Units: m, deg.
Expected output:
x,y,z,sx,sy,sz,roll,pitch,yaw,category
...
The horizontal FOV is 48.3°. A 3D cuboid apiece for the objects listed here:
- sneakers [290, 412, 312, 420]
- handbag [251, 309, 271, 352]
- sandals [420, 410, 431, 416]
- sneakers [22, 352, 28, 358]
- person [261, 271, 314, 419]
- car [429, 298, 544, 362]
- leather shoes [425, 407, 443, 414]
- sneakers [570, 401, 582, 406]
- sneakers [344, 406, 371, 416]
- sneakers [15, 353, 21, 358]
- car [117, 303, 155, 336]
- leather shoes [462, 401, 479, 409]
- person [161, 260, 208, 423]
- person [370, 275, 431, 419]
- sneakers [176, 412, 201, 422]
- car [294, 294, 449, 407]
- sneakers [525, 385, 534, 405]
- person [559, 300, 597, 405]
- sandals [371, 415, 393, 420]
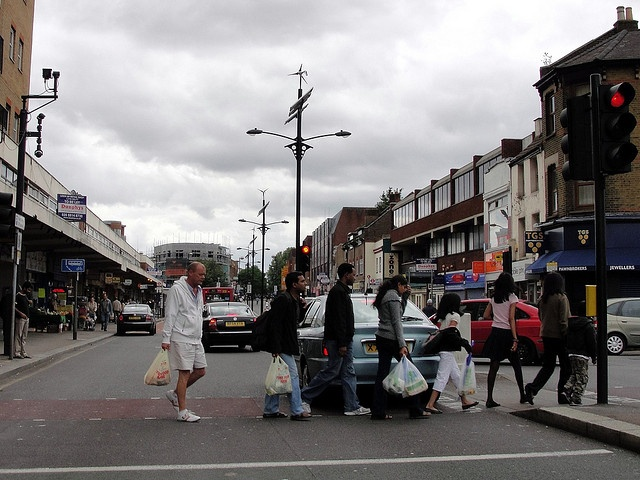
x,y,z,sx,sy,sz,roll,pitch,yaw,category
-0.305,2.653,10.799,0.277,0.137,0.111,-2,-6,-1,sneakers
-0.915,1.465,10.985,0.323,0.637,0.451,14,-13,-20,handbag
1.633,2.685,11.050,0.064,0.070,0.187,0,-10,0,sandals
-7.876,3.067,18.895,0.170,0.124,0.548,3,-8,-19,sneakers
-0.496,1.607,10.869,0.673,2.240,0.323,7,-10,-42,person
4.121,2.460,19.023,3.479,1.568,1.653,1,-2,22,car
1.813,2.687,11.158,0.331,0.095,0.124,0,-1,-13,leather shoes
3.994,2.539,11.075,0.202,0.093,0.077,0,-4,-10,sneakers
0.564,2.670,11.135,0.424,0.215,0.156,-2,-8,2,sneakers
-8.192,3.108,19.096,0.123,0.169,0.381,5,-13,-21,sneakers
-9.181,3.950,35.162,1.767,1.574,1.739,3,-8,-16,car
2.430,2.681,11.563,0.290,0.110,0.101,-15,7,-11,leather shoes
-2.042,1.503,10.587,0.645,2.359,0.566,2,-7,-13,person
1.190,1.659,11.082,0.789,2.190,0.857,-1,-7,9,person
-1.963,2.607,10.523,0.334,0.166,0.137,2,-3,3,sneakers
0.477,1.778,12.477,1.403,1.226,2.621,0,0,-13,car
3.453,2.515,11.701,0.134,0.365,0.119,-4,3,17,sneakers
4.087,1.894,11.200,0.517,1.352,0.277,-2,-8,20,person
0.938,2.694,10.862,0.358,0.083,0.085,5,-8,-27,sandals
